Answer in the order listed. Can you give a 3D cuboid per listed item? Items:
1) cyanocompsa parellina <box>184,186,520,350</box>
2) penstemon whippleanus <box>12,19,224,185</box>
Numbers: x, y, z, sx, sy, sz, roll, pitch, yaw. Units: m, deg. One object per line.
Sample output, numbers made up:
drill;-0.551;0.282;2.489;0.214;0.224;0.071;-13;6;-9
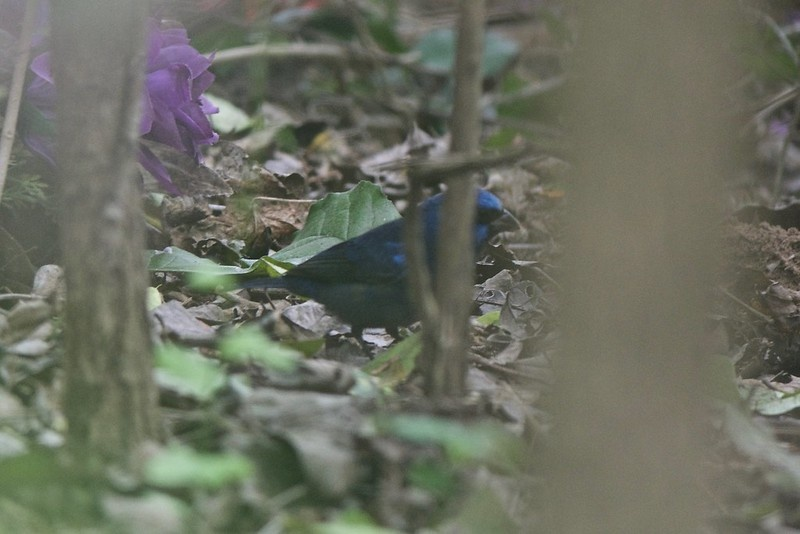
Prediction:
cyanocompsa parellina;-0.087;-0.004;2.333;0.804;0.382;0.244;3;5;12
penstemon whippleanus;-0.662;-0.385;2.098;0.303;0.410;0.347;4;12;21
